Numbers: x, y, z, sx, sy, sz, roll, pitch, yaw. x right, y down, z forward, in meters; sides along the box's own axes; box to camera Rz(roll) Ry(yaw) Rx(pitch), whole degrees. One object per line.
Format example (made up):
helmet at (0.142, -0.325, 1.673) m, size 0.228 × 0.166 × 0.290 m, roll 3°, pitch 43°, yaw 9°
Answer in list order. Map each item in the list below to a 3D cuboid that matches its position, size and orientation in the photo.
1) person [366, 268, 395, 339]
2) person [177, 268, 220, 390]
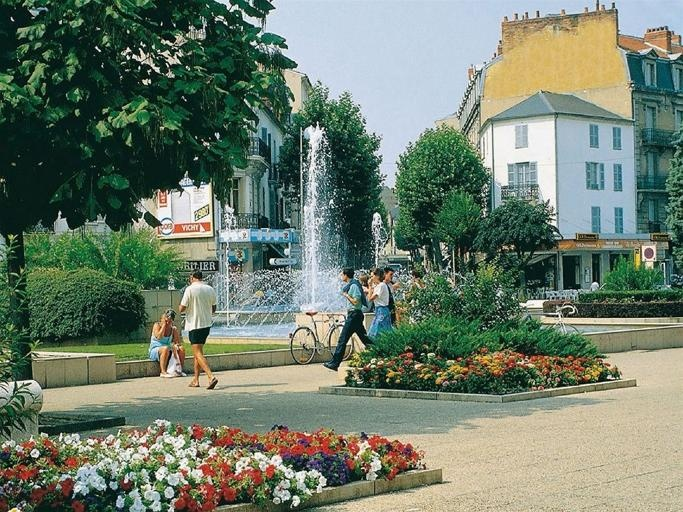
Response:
person at (0.779, 1.033, 22.760) m, size 0.511 × 1.514 × 0.583 m, roll 5°, pitch 9°, yaw 33°
person at (-2.755, 1.419, 21.305) m, size 0.662 × 1.786 × 0.817 m, roll -2°, pitch -1°, yaw -7°
